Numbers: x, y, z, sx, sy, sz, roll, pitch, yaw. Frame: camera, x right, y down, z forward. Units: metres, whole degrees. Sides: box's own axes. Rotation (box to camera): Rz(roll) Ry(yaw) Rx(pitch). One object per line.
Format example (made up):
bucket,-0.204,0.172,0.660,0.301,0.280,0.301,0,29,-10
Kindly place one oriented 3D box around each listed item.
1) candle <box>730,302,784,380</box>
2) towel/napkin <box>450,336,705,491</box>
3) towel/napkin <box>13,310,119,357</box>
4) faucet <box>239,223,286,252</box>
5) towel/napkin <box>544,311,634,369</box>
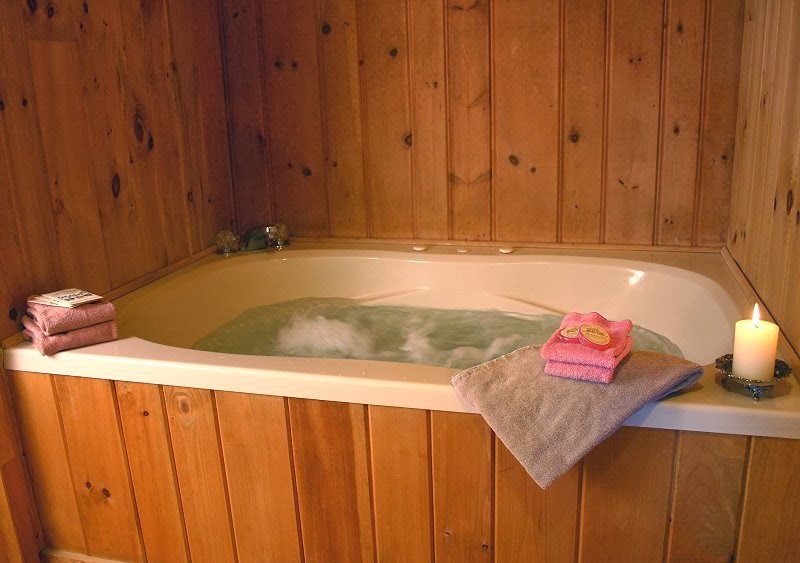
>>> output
candle,0.852,0.146,1.414,0.092,0.170,0.090,-18,20,-37
towel/napkin,0.424,0.331,1.489,0.559,0.259,0.323,-7,15,-24
towel/napkin,-0.988,0.152,1.780,0.152,0.054,0.144,-11,16,-35
faucet,-0.628,-0.200,2.754,0.134,0.059,0.158,0,14,5
towel/napkin,0.462,0.129,1.473,0.166,0.055,0.144,3,24,30
